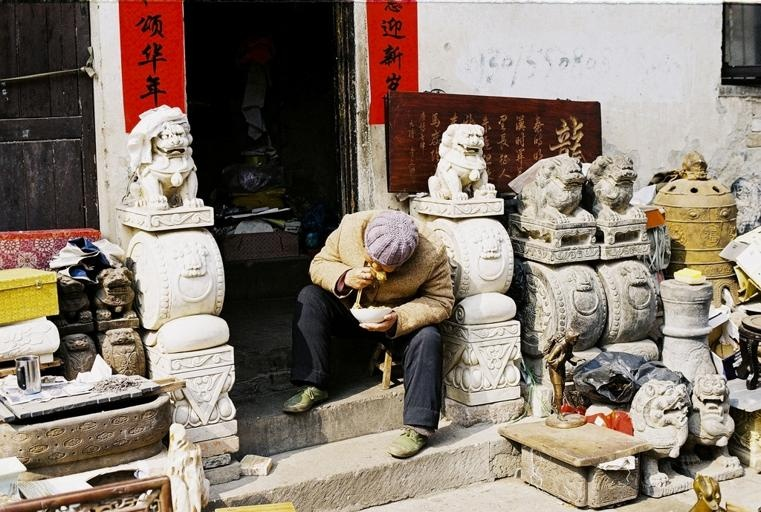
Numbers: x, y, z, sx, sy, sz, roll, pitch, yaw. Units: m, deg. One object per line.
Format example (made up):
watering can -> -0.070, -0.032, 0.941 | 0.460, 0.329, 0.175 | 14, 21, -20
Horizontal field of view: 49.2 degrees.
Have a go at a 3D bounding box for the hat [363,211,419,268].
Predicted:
hat -> 0.076, -0.108, 6.072 | 0.377, 0.419, 0.256 | -6, 6, -18

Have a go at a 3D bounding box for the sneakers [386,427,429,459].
sneakers -> 0.207, 1.383, 6.176 | 0.157, 0.135, 0.328 | 11, 11, 42

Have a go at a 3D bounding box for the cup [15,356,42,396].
cup -> -2.324, 0.807, 5.443 | 0.145, 0.250, 0.252 | -1, 15, -4

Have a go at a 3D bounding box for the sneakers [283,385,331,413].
sneakers -> -0.555, 1.077, 6.291 | 0.338, 0.146, 0.152 | -6, 11, -39

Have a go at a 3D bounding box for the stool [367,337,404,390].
stool -> 0.029, 0.822, 6.729 | 0.257, 0.263, 0.242 | 20, -8, -12
